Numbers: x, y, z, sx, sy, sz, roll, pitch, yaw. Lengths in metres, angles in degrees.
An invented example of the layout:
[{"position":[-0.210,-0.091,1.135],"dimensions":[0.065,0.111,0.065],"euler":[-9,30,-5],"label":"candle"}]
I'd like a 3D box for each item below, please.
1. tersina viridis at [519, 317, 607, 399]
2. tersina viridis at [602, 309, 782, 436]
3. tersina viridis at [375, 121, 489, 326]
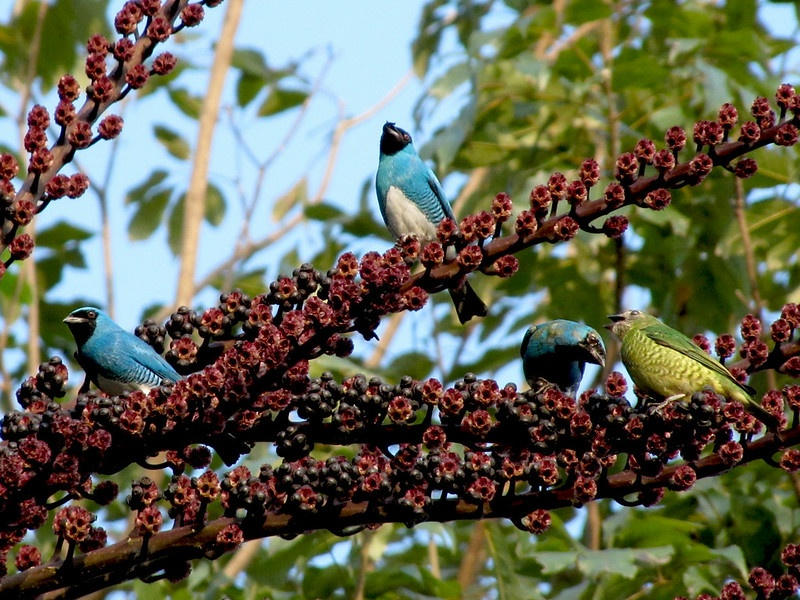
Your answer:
[{"position":[1.097,0.403,10.435],"dimensions":[0.445,0.589,0.898],"euler":[10,-14,-24],"label":"tersina viridis"},{"position":[1.858,0.453,9.614],"dimensions":[1.233,0.710,0.430],"euler":[11,-38,15],"label":"tersina viridis"},{"position":[0.207,-0.555,10.490],"dimensions":[0.462,0.861,1.445],"euler":[-28,-61,3],"label":"tersina viridis"}]
